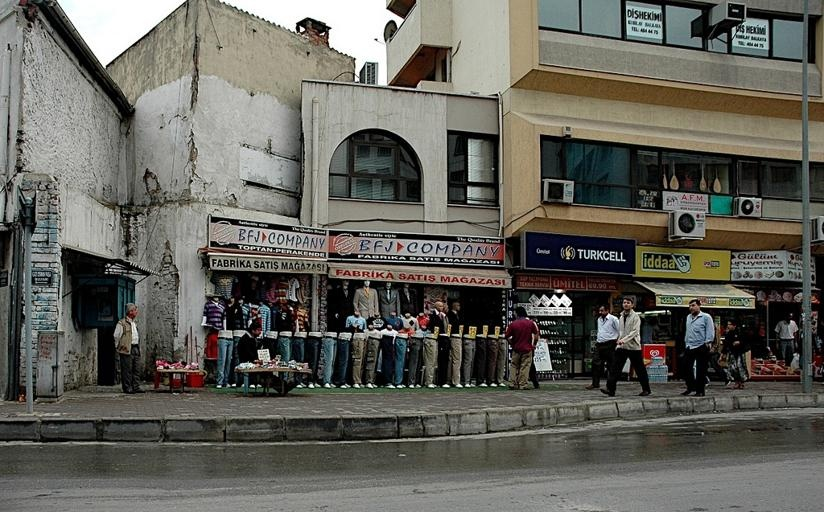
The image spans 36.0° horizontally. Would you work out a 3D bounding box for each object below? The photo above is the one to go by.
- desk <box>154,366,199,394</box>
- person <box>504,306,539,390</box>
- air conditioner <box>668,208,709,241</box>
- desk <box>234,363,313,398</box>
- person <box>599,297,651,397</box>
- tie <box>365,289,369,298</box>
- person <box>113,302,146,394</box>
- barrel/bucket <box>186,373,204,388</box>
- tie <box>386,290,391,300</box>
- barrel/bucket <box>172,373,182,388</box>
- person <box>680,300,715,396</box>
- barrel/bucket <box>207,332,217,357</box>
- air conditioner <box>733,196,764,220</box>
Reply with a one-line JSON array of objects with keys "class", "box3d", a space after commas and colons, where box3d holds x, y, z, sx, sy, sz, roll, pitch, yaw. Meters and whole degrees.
[{"class": "desk", "box3d": [-6.698, 3.513, 36.244, 1.298, 0.739, 1.473, 0, -9, -10]}, {"class": "person", "box3d": [3.309, 2.743, 38.418, 0.736, 2.506, 0.847, 2, -9, -20]}, {"class": "air conditioner", "box3d": [9.363, -1.094, 43.361, 1.032, 0.954, 0.362, 4, -11, -19]}, {"class": "desk", "box3d": [-4.036, 3.494, 36.207, 1.968, 0.916, 2.470, 0, -9, -7]}, {"class": "person", "box3d": [6.006, 2.568, 36.183, 1.207, 2.997, 1.116, 1, -2, -28]}, {"class": "tie", "box3d": [-1.443, 1.129, 40.258, 0.162, 0.228, 0.060, -8, 6, -33]}, {"class": "person", "box3d": [-8.020, 2.562, 35.947, 0.763, 2.398, 0.849, 0, -2, -7]}, {"class": "barrel/bucket", "box3d": [-6.235, 3.554, 36.641, 0.452, 0.438, 0.449, 0, -7, 0]}, {"class": "tie", "box3d": [-0.763, 1.216, 40.768, 0.186, 0.254, 0.068, 2, -10, -13]}, {"class": "barrel/bucket", "box3d": [-6.800, 3.532, 36.514, 0.341, 0.484, 0.439, 2, -15, -15]}, {"class": "person", "box3d": [8.104, 2.557, 36.197, 0.884, 2.846, 1.104, 0, -8, -5]}, {"class": "barrel/bucket", "box3d": [-6.101, 2.676, 38.645, 0.463, 0.773, 0.194, -9, -11, 42]}, {"class": "air conditioner", "box3d": [11.697, -1.688, 44.127, 1.091, 0.936, 0.636, 3, -9, -19]}]
